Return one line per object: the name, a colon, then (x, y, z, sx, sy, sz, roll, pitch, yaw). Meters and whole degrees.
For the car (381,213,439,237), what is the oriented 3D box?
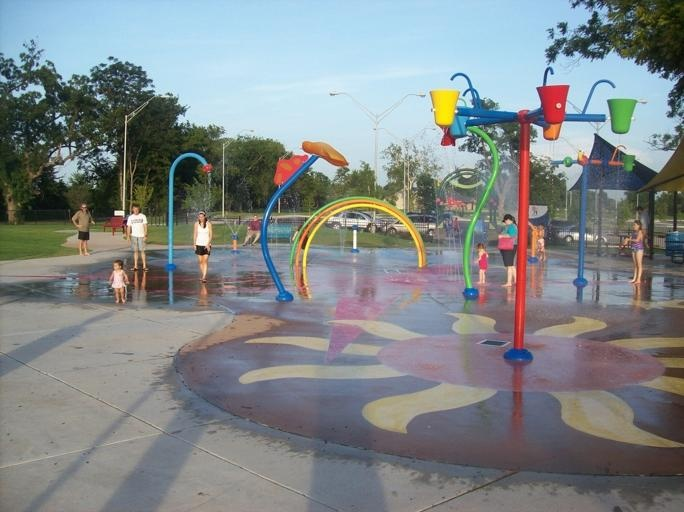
car: (5.191, -2.349, 47.124, 3.287, 1.672, 1.893, 4, 3, 10)

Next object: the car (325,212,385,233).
car: (0.948, -2.694, 49.627, 3.919, 1.354, 2.041, 0, 4, 15)

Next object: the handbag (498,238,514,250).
handbag: (4.451, -0.327, 17.084, 0.272, 0.284, 0.121, 4, 7, 32)

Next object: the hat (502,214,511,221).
hat: (4.508, -1.032, 17.224, 0.166, 0.231, 0.213, -8, 8, -3)

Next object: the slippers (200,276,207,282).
slippers: (-3.825, 0.644, 17.516, 0.151, 0.175, 0.164, 0, -3, -13)

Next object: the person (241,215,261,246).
person: (-4.830, -1.388, 34.036, 0.816, 1.545, 3.780, 0, 7, -9)
